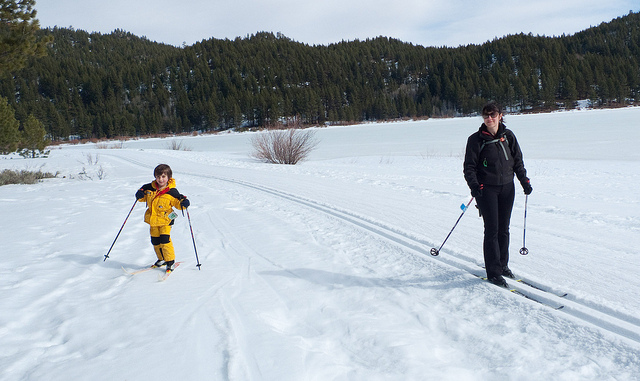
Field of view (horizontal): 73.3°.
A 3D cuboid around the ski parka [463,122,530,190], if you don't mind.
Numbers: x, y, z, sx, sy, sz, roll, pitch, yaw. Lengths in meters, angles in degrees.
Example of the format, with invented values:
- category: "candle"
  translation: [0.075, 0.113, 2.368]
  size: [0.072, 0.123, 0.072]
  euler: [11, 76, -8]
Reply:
- category: "ski parka"
  translation: [3.239, -0.648, 7.947]
  size: [1.132, 1.194, 0.388]
  euler: [-1, 10, -2]

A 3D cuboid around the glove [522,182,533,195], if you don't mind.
- category: "glove"
  translation: [3.839, -0.049, 7.925]
  size: [0.140, 0.197, 0.068]
  euler: [-6, 9, 2]

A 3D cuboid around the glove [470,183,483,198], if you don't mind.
- category: "glove"
  translation: [2.848, -0.034, 7.899]
  size: [0.236, 0.234, 0.199]
  euler: [12, 25, 21]

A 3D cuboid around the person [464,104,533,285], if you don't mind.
- category: "person"
  translation: [3.261, 0.055, 8.002]
  size: [1.148, 3.259, 0.713]
  euler: [0, 10, 6]

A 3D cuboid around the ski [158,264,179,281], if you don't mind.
- category: "ski"
  translation: [-3.049, 1.587, 8.768]
  size: [0.100, 0.098, 0.732]
  euler: [2, 22, 17]

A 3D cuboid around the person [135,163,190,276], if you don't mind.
- category: "person"
  translation: [-3.184, 0.558, 8.718]
  size: [0.855, 2.179, 0.699]
  euler: [-7, 11, -28]

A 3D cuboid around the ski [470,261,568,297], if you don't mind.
- category: "ski"
  translation: [3.696, 1.666, 7.993]
  size: [0.145, 0.150, 1.334]
  euler: [-22, 32, -30]

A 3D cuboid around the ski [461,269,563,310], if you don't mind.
- category: "ski"
  translation: [3.502, 1.811, 7.801]
  size: [0.144, 0.162, 1.367]
  euler: [11, 14, -36]
